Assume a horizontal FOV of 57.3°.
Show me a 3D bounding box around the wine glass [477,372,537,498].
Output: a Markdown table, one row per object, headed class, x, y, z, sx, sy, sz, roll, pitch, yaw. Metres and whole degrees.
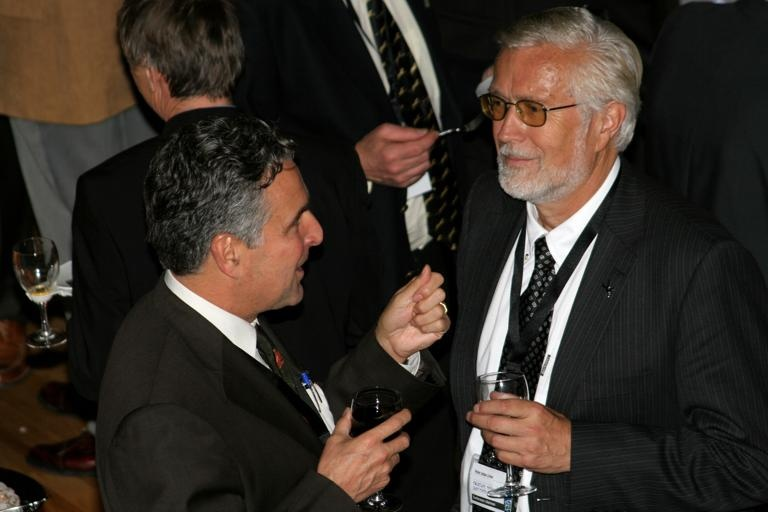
| class | x | y | z | sx | sy | sz | roll | pitch | yaw |
| --- | --- | --- | --- | --- | --- | --- | --- | --- | --- |
| wine glass | 0.481 | 0.704 | 2.746 | 0.192 | 0.492 | 0.287 | -6 | 31 | 1 |
